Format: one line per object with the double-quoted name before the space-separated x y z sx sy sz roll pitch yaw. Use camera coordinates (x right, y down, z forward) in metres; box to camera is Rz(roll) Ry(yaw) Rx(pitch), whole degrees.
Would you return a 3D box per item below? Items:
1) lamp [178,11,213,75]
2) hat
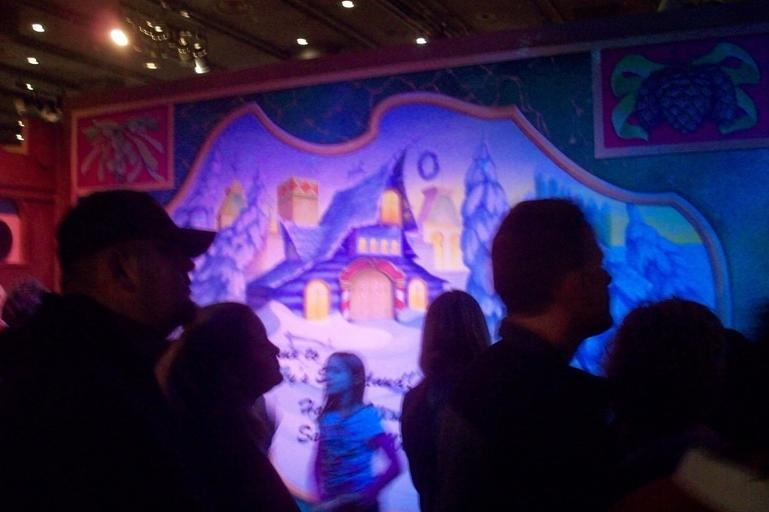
"lamp" -1.339 -1.420 4.429 0.179 0.255 0.236 0 -3 22
"hat" -1.129 -0.135 2.819 0.671 0.317 0.412 -10 -10 -24
